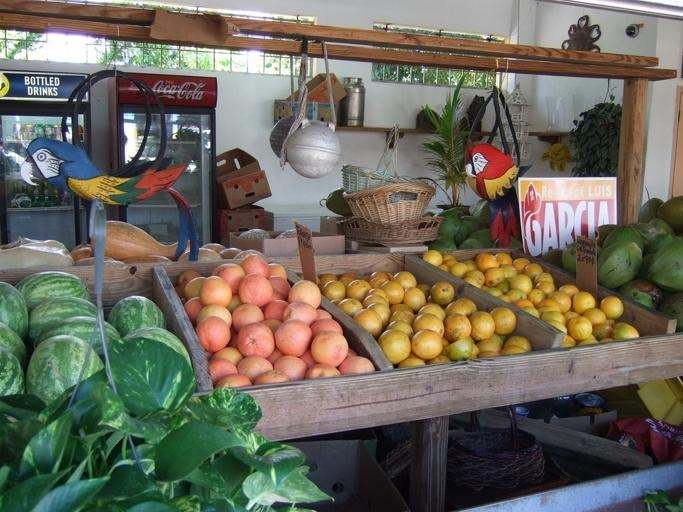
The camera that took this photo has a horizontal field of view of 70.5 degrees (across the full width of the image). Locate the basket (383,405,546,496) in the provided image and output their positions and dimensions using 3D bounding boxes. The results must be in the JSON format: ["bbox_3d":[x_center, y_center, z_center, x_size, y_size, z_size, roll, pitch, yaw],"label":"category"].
[{"bbox_3d":[0.459,0.756,1.987,0.478,0.416,0.485,-2,9,-19],"label":"basket"}]

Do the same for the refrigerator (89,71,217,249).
[{"bbox_3d":[-1.941,-0.942,5.837,1.317,2.086,1.261,-2,3,-19],"label":"refrigerator"}]

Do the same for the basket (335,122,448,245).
[{"bbox_3d":[0.238,-0.373,2.632,0.597,0.623,0.559,1,10,12],"label":"basket"}]
